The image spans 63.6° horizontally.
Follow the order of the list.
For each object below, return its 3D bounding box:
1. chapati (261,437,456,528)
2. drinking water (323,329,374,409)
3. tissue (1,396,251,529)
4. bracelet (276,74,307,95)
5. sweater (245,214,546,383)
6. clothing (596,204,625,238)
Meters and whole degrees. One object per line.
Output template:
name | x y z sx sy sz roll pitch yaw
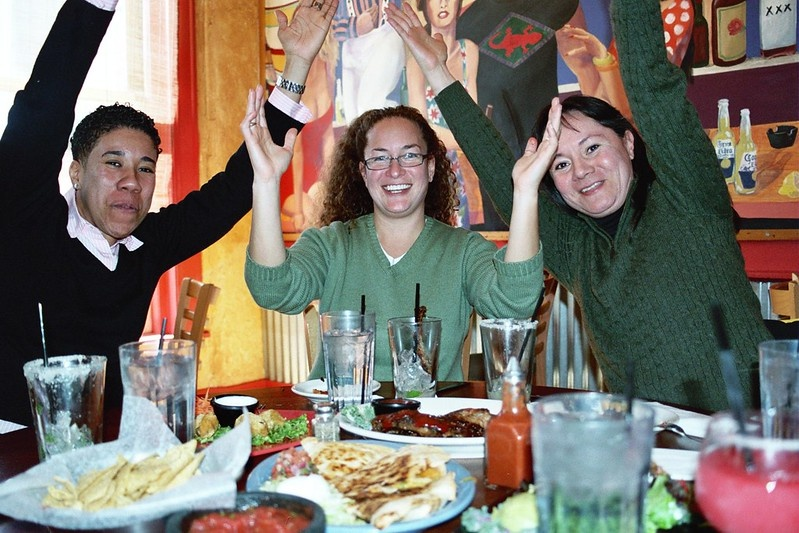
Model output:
chapati | -0.056 0.408 1.330 0.201 0.122 0.298 -3 3 -40
drinking water | -0.140 0.262 1.795 0.112 0.228 0.112 1 5 45
tissue | -0.523 0.383 1.279 0.458 0.235 0.306 -1 -8 -8
bracelet | -0.420 -0.709 2.549 0.093 0.104 0.099 -1 -36 2
sweater | 0.022 0.028 2.572 1.141 0.852 0.609 0 -6 4
clothing | 0.826 -0.176 2.547 0.093 0.125 0.110 -7 25 14
